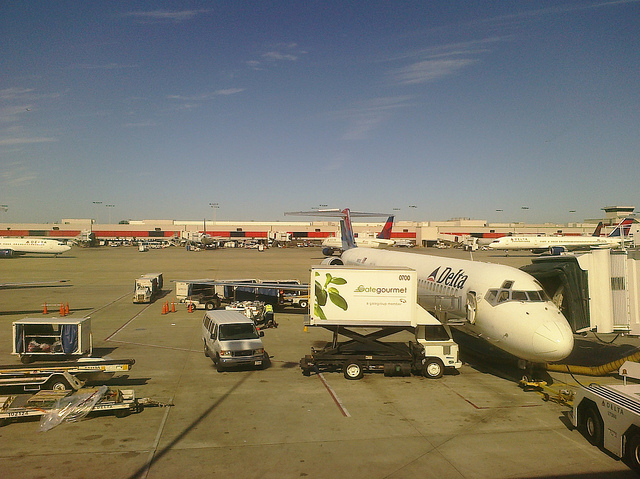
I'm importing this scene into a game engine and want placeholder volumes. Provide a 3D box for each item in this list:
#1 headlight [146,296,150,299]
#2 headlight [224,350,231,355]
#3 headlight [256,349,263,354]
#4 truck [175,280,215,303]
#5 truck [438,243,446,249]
[{"bbox_3d":[-14.596,4.949,49.498,0.082,0.224,0.321,5,10,22],"label":"headlight"},{"bbox_3d":[-4.700,5.774,29.683,0.429,0.211,0.202,1,-3,-2],"label":"headlight"},{"bbox_3d":[-3.150,5.803,30.191,0.361,0.246,0.076,0,-9,0],"label":"headlight"},{"bbox_3d":[-10.381,4.371,48.777,3.031,1.087,1.403,0,4,1],"label":"truck"},{"bbox_3d":[31.300,1.672,148.592,1.794,0.682,2.007,0,3,5],"label":"truck"}]
